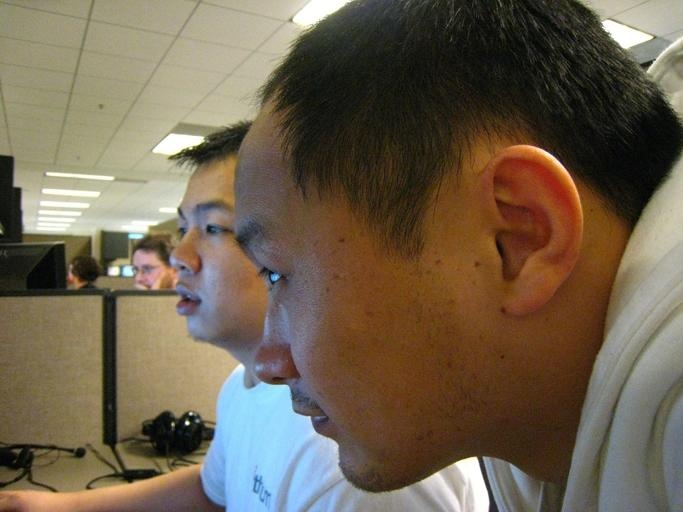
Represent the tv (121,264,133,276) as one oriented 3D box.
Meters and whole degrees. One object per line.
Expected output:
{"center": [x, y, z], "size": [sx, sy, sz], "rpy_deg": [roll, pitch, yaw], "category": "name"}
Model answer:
{"center": [-2.308, 0.154, 7.487], "size": [0.101, 0.127, 0.117], "rpy_deg": [4, 1, 16], "category": "tv"}
